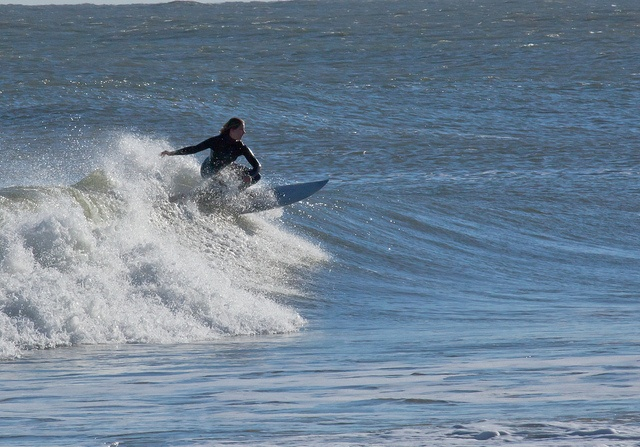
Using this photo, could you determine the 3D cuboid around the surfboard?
[{"bbox_3d":[-2.282,-0.598,32.664,0.602,0.679,7.027,-26,11,-37],"label":"surfboard"}]
